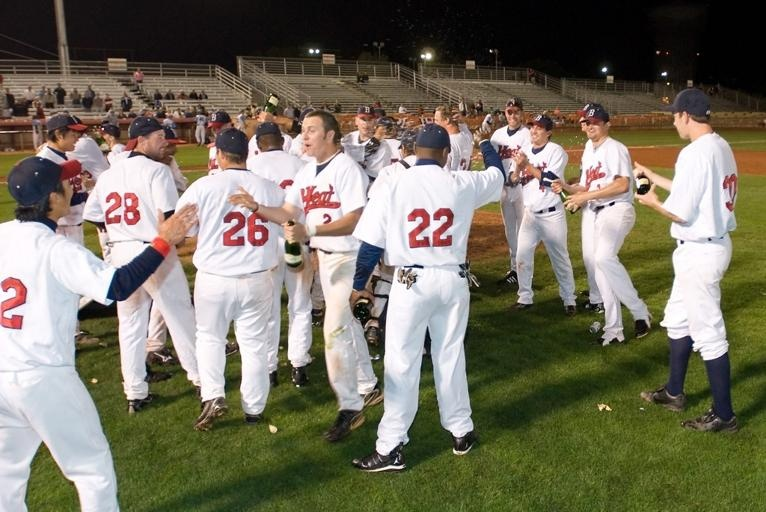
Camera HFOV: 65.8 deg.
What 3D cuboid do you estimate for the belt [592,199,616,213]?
[{"bbox_3d":[2.995,-0.672,8.051,0.172,0.066,0.141,-29,-18,34],"label":"belt"}]

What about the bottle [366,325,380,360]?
[{"bbox_3d":[-0.100,1.154,8.055,0.143,0.339,0.248,6,-4,-14],"label":"bottle"}]

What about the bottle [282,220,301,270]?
[{"bbox_3d":[-0.871,-0.017,5.955,0.154,0.349,0.275,-4,14,-10],"label":"bottle"}]

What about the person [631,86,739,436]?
[{"bbox_3d":[3.215,-0.008,6.166,1.004,3.397,1.195,2,14,12],"label":"person"}]
